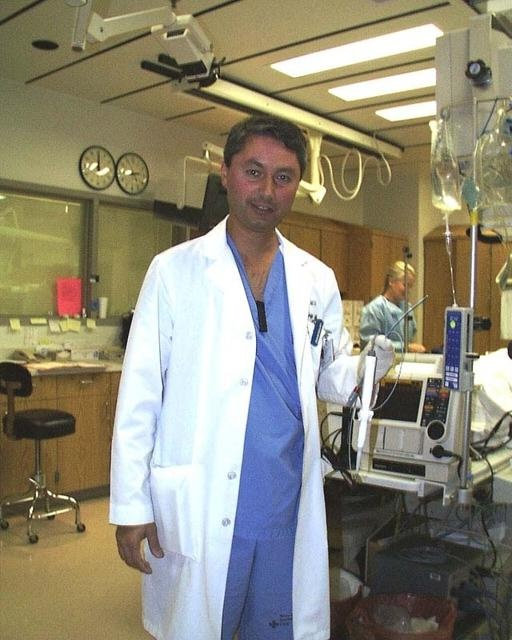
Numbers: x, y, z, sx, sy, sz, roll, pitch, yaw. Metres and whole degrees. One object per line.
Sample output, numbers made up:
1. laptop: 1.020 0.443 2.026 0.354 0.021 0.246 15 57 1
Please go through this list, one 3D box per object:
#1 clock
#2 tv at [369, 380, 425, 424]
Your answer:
1. clock: -1.103 -1.167 4.284 0.130 0.352 0.452 8 7 43
2. tv: 0.479 0.275 1.897 0.194 0.202 0.048 -2 -28 32
